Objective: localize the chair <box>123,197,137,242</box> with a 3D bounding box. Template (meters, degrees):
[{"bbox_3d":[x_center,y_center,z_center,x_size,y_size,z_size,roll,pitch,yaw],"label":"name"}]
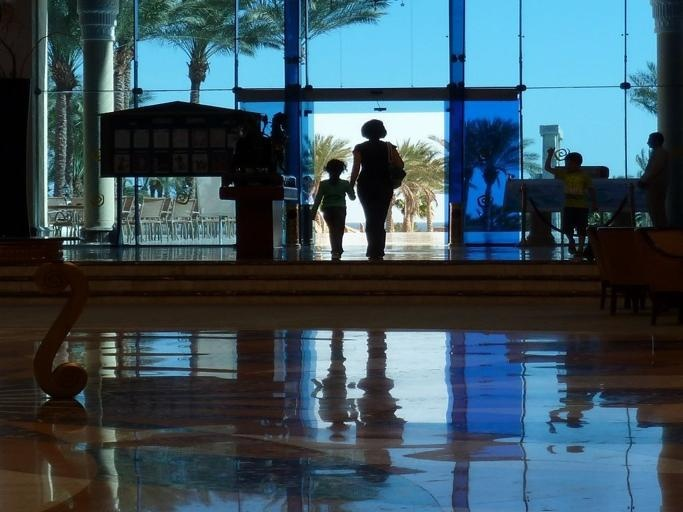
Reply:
[{"bbox_3d":[-3.649,-0.626,19.367,0.254,0.805,0.227,-2,9,-2],"label":"chair"}]

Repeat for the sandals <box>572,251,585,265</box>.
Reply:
[{"bbox_3d":[2.783,0.021,13.282,0.094,0.078,0.242,-5,32,19],"label":"sandals"}]

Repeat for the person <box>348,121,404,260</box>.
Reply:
[{"bbox_3d":[0.421,-0.779,13.172,0.637,1.620,0.400,-2,9,0],"label":"person"}]

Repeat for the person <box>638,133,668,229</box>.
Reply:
[{"bbox_3d":[4.414,-1.068,15.987,0.384,1.409,1.105,0,10,15],"label":"person"}]

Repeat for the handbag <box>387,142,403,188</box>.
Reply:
[{"bbox_3d":[0.630,-1.060,13.143,0.211,0.553,0.394,-2,10,2],"label":"handbag"}]

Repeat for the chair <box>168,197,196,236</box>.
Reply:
[{"bbox_3d":[-2.719,-0.620,19.314,0.529,0.691,0.597,5,5,12],"label":"chair"}]

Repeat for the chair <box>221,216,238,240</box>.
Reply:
[{"bbox_3d":[-1.953,-0.451,19.309,0.245,0.419,0.204,-4,10,-12],"label":"chair"}]

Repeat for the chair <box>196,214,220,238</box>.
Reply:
[{"bbox_3d":[-2.275,-0.477,19.481,0.440,0.435,0.359,1,-5,2],"label":"chair"}]

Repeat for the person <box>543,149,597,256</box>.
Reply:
[{"bbox_3d":[2.983,-0.635,14.851,0.573,1.540,3.030,0,10,12],"label":"person"}]

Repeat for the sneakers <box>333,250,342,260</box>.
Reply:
[{"bbox_3d":[-0.055,-0.014,13.696,0.110,0.101,0.091,2,-1,-9],"label":"sneakers"}]

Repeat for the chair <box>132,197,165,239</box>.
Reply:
[{"bbox_3d":[-3.314,-0.643,19.421,0.623,0.926,0.662,1,4,-26],"label":"chair"}]
